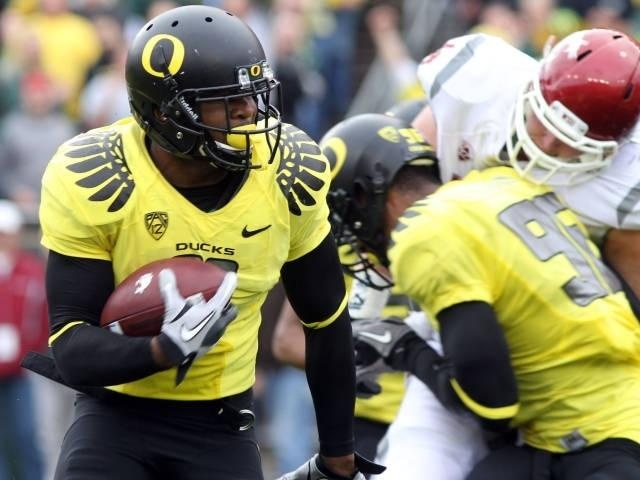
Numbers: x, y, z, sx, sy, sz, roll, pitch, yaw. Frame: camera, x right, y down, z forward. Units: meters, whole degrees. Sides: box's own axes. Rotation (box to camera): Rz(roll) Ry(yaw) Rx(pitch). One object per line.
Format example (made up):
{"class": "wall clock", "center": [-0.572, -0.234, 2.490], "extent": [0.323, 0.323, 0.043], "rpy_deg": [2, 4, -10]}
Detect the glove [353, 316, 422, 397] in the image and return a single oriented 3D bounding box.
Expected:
{"class": "glove", "center": [0.256, 0.511, 3.688], "extent": [0.316, 0.259, 0.346], "rpy_deg": [22, 63, -1]}

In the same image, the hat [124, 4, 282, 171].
{"class": "hat", "center": [-0.400, -0.628, 3.109], "extent": [0.613, 0.522, 0.514], "rpy_deg": [21, 25, 26]}

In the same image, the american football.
{"class": "american football", "center": [-0.576, 0.177, 2.919], "extent": [0.412, 0.236, 0.256], "rpy_deg": [-23, 20, -11]}
